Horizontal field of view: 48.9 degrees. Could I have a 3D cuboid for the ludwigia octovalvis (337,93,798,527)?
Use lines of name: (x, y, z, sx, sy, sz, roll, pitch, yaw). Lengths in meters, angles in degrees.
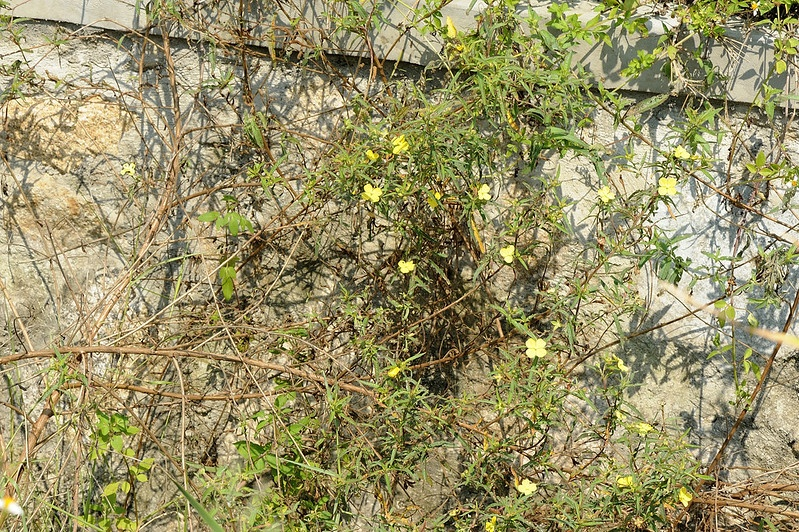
ludwigia octovalvis: (0.733, 0.255, 4.561, 2.300, 2.117, 1.498, 4, -28, -5)
